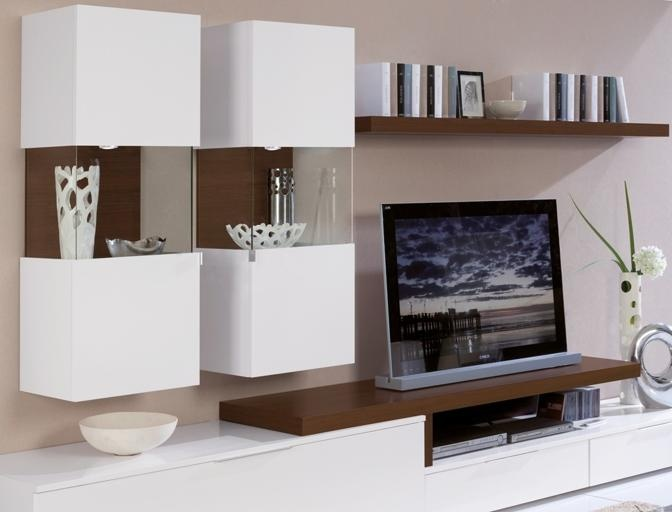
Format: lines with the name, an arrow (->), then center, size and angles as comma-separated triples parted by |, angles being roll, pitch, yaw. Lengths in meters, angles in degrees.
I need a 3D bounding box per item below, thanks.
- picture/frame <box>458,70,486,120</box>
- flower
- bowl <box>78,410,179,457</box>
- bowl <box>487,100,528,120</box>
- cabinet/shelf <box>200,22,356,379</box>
picture/frame -> 0.771, -0.920, 3.626 | 0.027, 0.369, 0.327 | -2, 1, 39
flower -> 1.988, -0.050, 4.386 | 0.634, 0.727, 0.706 | -5, 35, 26
bowl -> -0.814, 0.685, 2.480 | 0.223, 0.085, 0.228 | 0, -4, 0
bowl -> 1.011, -0.866, 3.740 | 0.160, 0.069, 0.161 | 0, 5, 0
cabinet/shelf -> -0.240, -0.249, 2.832 | 0.744, 1.556, 0.483 | 1, 12, -14
